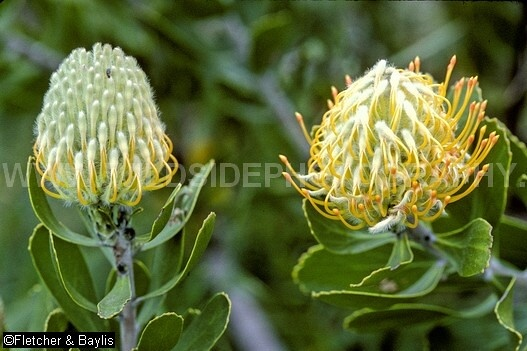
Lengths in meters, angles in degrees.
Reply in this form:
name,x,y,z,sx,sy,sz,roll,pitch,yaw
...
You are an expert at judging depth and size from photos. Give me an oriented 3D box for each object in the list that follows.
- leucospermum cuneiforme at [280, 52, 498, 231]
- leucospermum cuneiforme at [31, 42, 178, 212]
name,x,y,z,sx,sy,sz,roll,pitch,yaw
leucospermum cuneiforme,0.275,-0.083,1.409,0.559,0.427,0.565,0,15,-6
leucospermum cuneiforme,-0.382,-0.119,1.302,0.314,0.340,0.294,-6,6,-13
